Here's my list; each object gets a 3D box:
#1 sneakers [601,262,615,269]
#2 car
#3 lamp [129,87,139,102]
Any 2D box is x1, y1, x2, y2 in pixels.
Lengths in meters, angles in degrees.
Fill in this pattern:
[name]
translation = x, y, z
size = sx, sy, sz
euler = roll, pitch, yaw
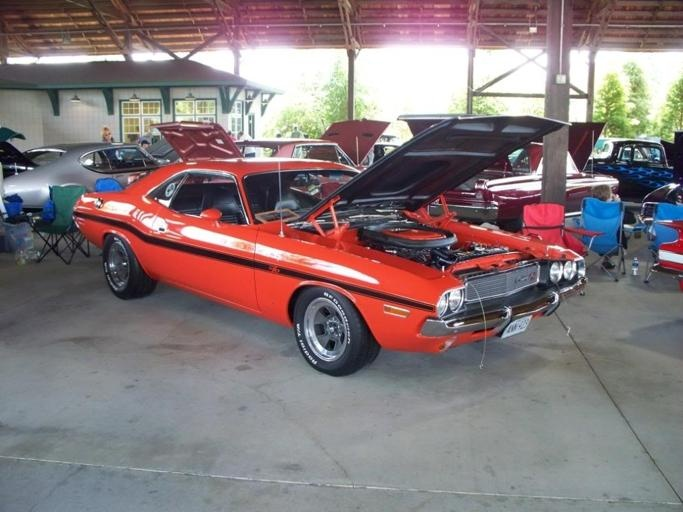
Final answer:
[sneakers]
translation = 4.239, 0.153, 7.479
size = 0.184, 0.044, 0.170
euler = -6, 11, -33
[car]
translation = 0.120, -0.279, 4.760
size = 5.637, 1.685, 2.461
euler = 10, 16, 33
[lamp]
translation = -8.943, -6.918, 20.272
size = 0.459, 0.557, 0.696
euler = -6, 17, -22
